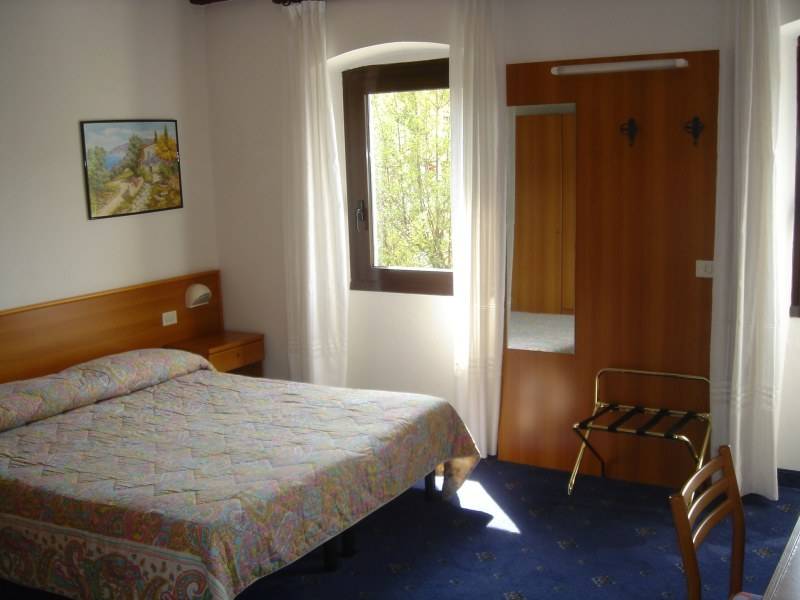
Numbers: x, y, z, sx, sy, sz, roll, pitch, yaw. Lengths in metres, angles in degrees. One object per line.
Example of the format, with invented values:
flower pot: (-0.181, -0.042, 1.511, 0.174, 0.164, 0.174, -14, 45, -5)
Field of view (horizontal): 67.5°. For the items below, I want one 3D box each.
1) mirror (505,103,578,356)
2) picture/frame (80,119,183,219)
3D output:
mirror: (1.024, -0.594, 4.252, 0.403, 1.392, 0.031, -2, 8, -7)
picture/frame: (-2.091, -1.015, 4.597, 0.065, 0.637, 0.688, 7, 19, 34)
